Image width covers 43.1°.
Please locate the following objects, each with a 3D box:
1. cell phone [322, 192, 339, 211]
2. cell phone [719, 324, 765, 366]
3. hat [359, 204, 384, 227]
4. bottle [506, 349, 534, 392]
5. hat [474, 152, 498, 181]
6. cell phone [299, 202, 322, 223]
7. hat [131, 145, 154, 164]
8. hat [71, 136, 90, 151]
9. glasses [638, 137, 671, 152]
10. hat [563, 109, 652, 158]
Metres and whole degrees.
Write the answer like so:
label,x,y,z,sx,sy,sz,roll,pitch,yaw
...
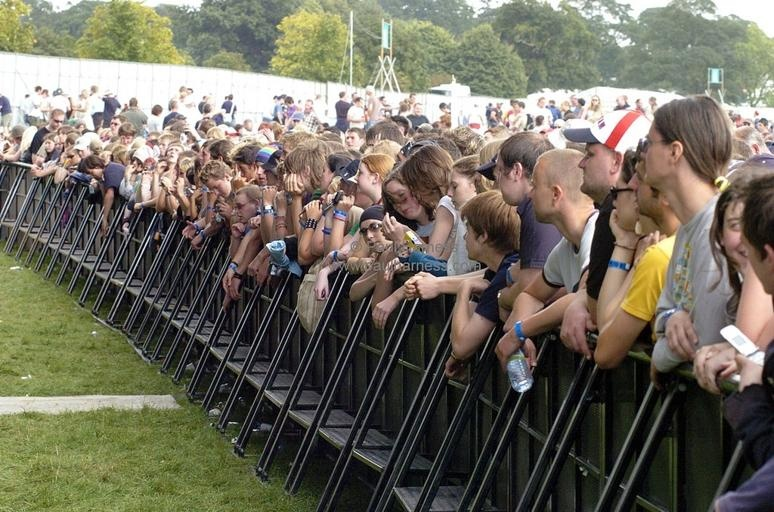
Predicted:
label,x,y,z,sx,sy,sz,roll,pitch,yaw
cell phone,-0.402,-0.429,7.464,0.078,0.093,0.218,35,31,11
cell phone,1.515,0.384,4.179,0.112,0.025,0.235,-24,50,-25
hat,-0.099,-0.294,6.782,0.147,0.124,0.116,-15,40,42
bottle,0.696,0.609,5.150,0.085,0.101,0.272,-20,29,12
hat,0.635,-0.575,6.156,0.168,0.079,0.113,-1,-11,17
cell phone,-0.577,-0.302,7.633,0.077,0.221,0.120,6,35,-41
hat,-3.028,-1.254,12.298,0.245,0.183,0.338,4,28,7
hat,-4.270,-1.559,13.714,0.164,0.160,0.267,-14,17,0
glasses,1.293,-0.537,4.746,0.084,0.028,0.084,12,1,-4
hat,1.206,-0.664,5.275,0.364,0.198,0.249,2,8,6
